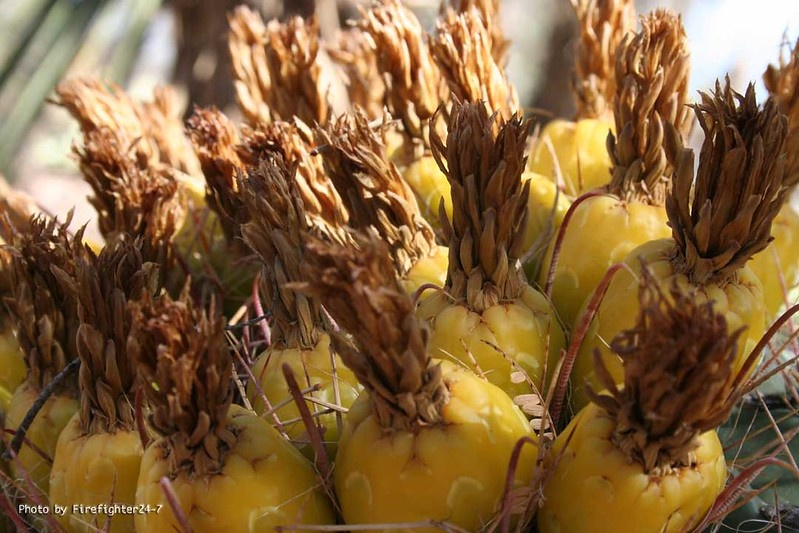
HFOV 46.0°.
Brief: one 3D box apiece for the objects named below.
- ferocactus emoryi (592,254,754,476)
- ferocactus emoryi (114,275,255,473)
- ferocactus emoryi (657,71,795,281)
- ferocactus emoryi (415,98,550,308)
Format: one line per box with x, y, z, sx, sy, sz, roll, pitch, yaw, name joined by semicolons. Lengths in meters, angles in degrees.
0.312;0.119;1.099;0.180;0.246;0.125;4;7;12;ferocactus emoryi
-0.259;0.132;1.137;0.132;0.216;0.119;1;7;-13;ferocactus emoryi
0.406;-0.105;1.175;0.137;0.254;0.072;7;8;29;ferocactus emoryi
0.104;-0.080;1.222;0.136;0.264;0.084;3;7;2;ferocactus emoryi
